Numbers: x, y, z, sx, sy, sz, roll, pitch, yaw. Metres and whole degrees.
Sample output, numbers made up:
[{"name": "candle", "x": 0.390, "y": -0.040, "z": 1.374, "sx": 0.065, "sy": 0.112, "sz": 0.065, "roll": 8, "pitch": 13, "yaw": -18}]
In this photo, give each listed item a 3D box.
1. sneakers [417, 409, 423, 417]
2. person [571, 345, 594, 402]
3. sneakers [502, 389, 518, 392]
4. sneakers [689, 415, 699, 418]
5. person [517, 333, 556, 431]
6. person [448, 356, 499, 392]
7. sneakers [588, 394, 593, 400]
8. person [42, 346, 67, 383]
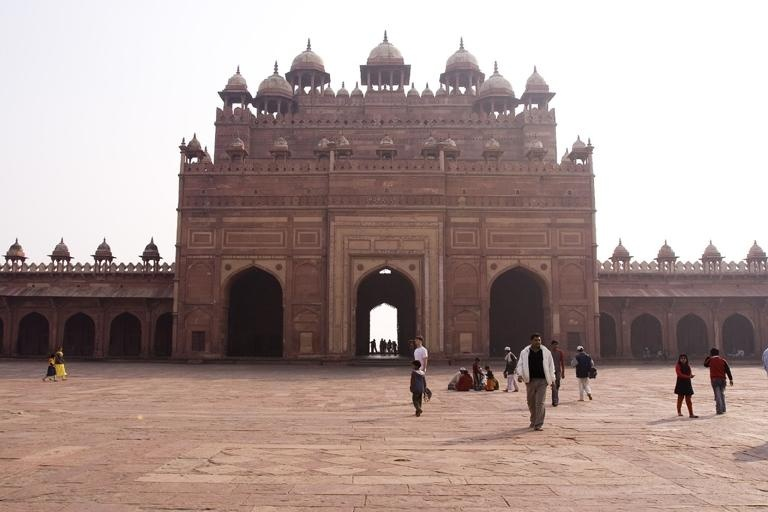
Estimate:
[{"name": "sneakers", "x": 0.863, "y": 3.771, "z": 22.811, "sx": 0.076, "sy": 0.202, "sz": 0.152, "roll": 2, "pitch": 6, "yaw": -16}, {"name": "person", "x": 5.533, "y": 3.200, "z": 26.153, "sx": 0.501, "sy": 1.478, "sz": 2.191, "roll": -3, "pitch": -8, "yaw": 11}, {"name": "sneakers", "x": 3.623, "y": 3.871, "z": 27.283, "sx": 0.427, "sy": 0.167, "sz": 0.134, "roll": 2, "pitch": 0, "yaw": -11}, {"name": "sneakers", "x": 7.456, "y": 3.861, "z": 22.870, "sx": 0.238, "sy": 0.084, "sz": 0.069, "roll": -1, "pitch": 0, "yaw": -9}, {"name": "person", "x": 3.508, "y": 2.897, "z": 21.949, "sx": 0.819, "sy": 2.197, "sz": 0.851, "roll": -2, "pitch": -8, "yaw": 8}, {"name": "person", "x": 2.521, "y": 3.487, "z": 27.795, "sx": 1.494, "sy": 0.856, "sz": 0.966, "roll": -5, "pitch": -6, "yaw": 25}, {"name": "sneakers", "x": 5.507, "y": 3.741, "z": 25.238, "sx": 0.089, "sy": 0.176, "sz": 0.125, "roll": -6, "pitch": -3, "yaw": -4}, {"name": "person", "x": -10.259, "y": 3.372, "z": 29.543, "sx": 0.634, "sy": 1.017, "sz": 1.839, "roll": 1, "pitch": -8, "yaw": -18}]
